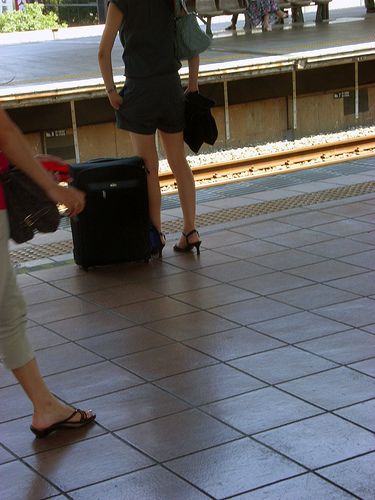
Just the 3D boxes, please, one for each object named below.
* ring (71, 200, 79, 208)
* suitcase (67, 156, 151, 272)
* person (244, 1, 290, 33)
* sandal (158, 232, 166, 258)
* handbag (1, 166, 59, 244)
[{"bbox_3d":[-0.357,-0.147,1.668,0.020,0.011,0.016,-31,24,14],"label":"ring"},{"bbox_3d":[-0.593,-0.324,3.927,0.689,0.785,0.548,-9,17,-30],"label":"suitcase"},{"bbox_3d":[1.907,-5.686,12.716,1.040,0.637,1.175,-5,16,3],"label":"person"},{"bbox_3d":[-0.203,-0.040,4.049,0.056,0.156,0.067,1,13,9],"label":"sandal"},{"bbox_3d":[-0.478,-0.140,1.593,0.235,0.203,0.087,-11,12,-30],"label":"handbag"}]
